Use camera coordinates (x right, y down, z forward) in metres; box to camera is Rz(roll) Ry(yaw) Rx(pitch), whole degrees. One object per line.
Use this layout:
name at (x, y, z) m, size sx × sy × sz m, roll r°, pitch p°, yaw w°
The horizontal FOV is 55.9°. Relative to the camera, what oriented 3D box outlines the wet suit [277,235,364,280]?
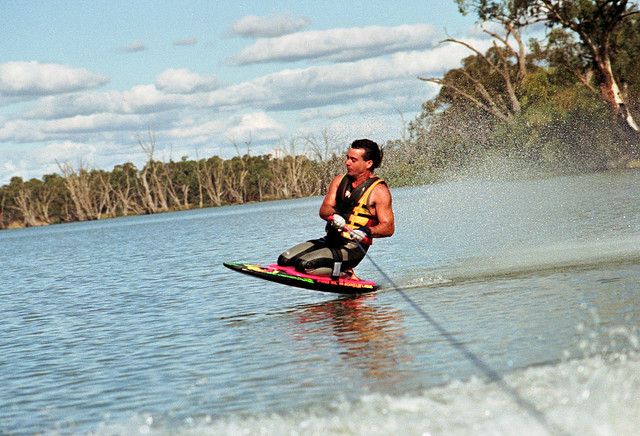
wet suit at (0.064, 0.674, 10.611) m, size 1.296 × 0.711 × 0.768 m, roll 14°, pitch 14°, yaw -18°
